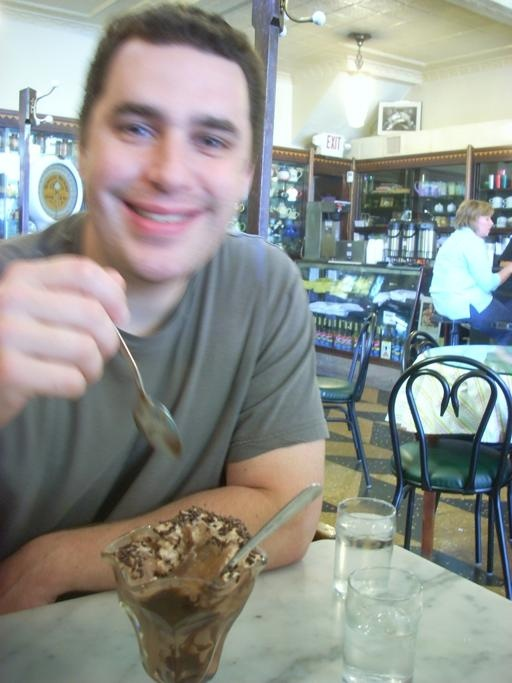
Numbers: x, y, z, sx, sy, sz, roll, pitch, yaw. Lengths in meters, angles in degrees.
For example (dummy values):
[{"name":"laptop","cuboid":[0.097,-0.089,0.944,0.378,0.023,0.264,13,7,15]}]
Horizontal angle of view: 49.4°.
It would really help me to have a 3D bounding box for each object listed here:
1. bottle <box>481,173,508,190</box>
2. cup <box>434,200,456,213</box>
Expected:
[{"name":"bottle","cuboid":[3.136,-2.087,7.341,0.213,0.199,0.273,0,11,2]},{"name":"cup","cuboid":[2.700,-1.914,7.942,0.236,0.147,0.356,2,13,11]}]
